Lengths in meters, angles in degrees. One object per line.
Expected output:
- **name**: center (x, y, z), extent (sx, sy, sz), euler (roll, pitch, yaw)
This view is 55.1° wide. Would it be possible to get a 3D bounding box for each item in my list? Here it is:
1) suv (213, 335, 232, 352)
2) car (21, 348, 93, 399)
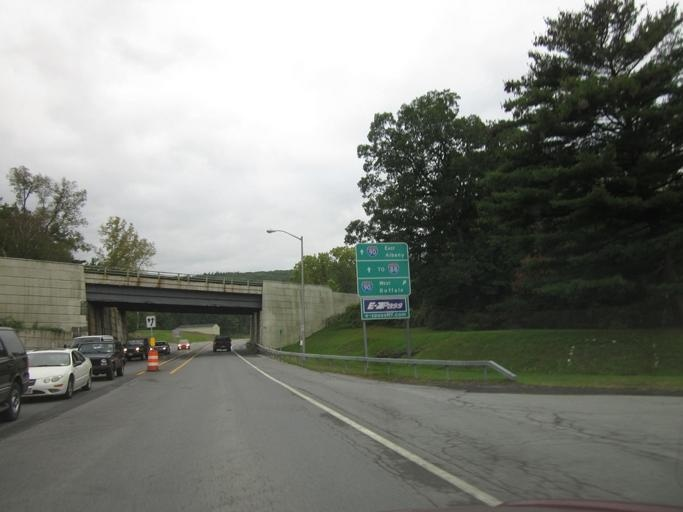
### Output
- **suv**: center (-12.109, 8.820, 66.231), extent (1.700, 1.723, 3.127), euler (-2, -8, -12)
- **car**: center (-9.643, 3.970, 22.237), extent (1.783, 1.628, 3.286), euler (-1, -8, -18)
